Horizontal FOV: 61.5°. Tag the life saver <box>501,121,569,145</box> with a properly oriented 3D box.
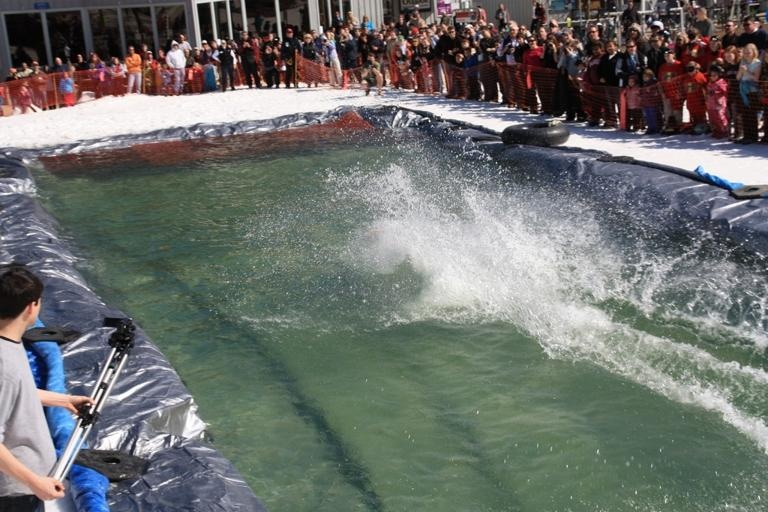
[{"bbox_3d":[3.335,-2.699,14.382,1.319,0.541,0.625,6,13,42],"label":"life saver"}]
